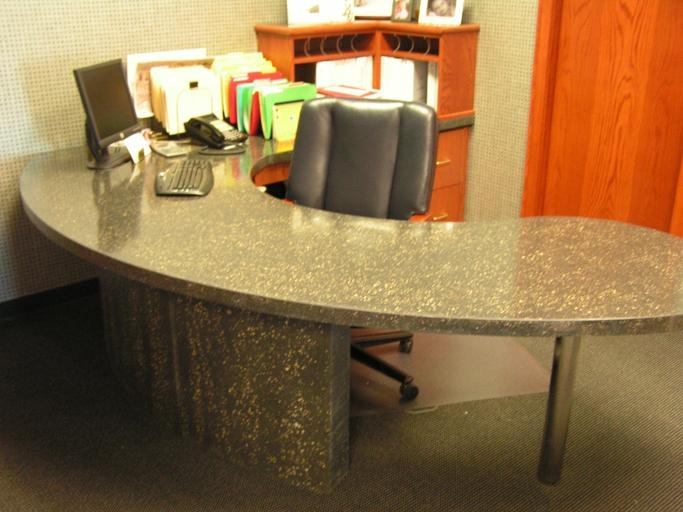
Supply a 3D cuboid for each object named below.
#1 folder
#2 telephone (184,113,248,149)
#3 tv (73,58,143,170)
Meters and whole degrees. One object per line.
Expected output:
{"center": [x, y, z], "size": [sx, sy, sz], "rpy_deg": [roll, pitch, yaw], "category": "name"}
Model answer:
{"center": [-0.479, -0.877, 3.364], "size": [0.402, 0.329, 0.655], "rpy_deg": [-17, 46, -22], "category": "folder"}
{"center": [-0.679, -0.662, 3.086], "size": [0.258, 0.100, 0.194], "rpy_deg": [26, 41, 25], "category": "telephone"}
{"center": [-1.142, -0.697, 2.864], "size": [0.210, 0.522, 0.424], "rpy_deg": [10, 29, 9], "category": "tv"}
